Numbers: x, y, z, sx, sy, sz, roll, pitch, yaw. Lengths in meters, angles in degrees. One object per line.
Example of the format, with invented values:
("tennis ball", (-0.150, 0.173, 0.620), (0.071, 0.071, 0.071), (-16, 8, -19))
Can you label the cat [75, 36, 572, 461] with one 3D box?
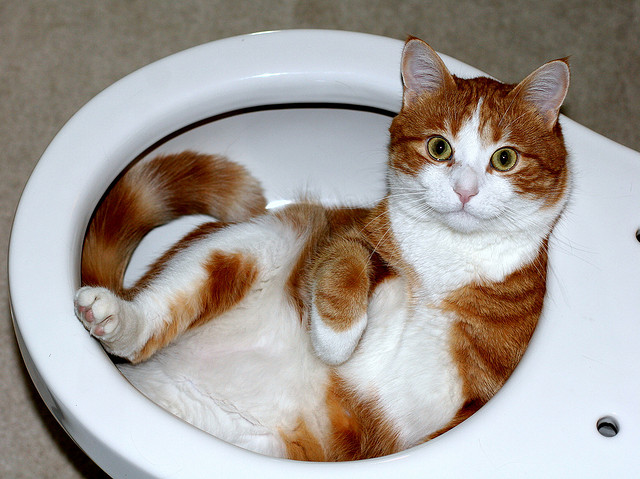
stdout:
("cat", (0.037, -0.038, 1.754), (0.982, 0.716, 0.850), (-14, -54, -24))
